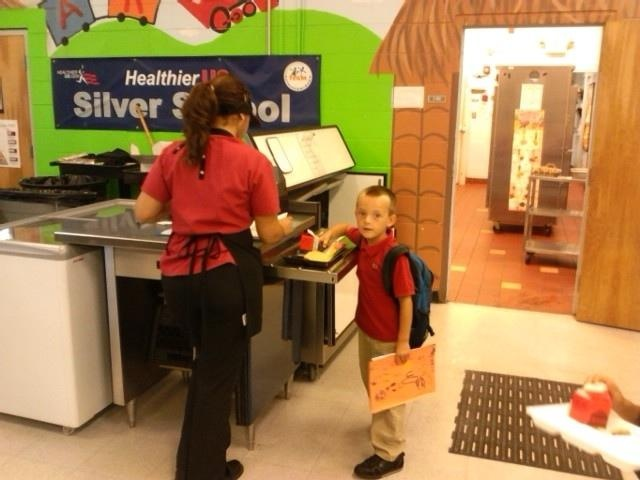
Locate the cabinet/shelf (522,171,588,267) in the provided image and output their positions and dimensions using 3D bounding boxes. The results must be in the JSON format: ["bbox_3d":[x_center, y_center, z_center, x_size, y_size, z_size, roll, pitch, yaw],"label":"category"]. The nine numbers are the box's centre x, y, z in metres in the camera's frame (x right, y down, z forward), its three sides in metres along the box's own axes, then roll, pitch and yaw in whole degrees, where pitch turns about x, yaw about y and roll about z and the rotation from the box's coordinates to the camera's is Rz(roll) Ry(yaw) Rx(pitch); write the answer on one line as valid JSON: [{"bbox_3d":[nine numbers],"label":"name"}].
[{"bbox_3d":[2.872,-0.319,6.086,0.707,0.865,0.572,5,5,28],"label":"cabinet/shelf"}]

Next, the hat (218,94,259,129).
[{"bbox_3d":[-0.353,-0.590,2.285,0.105,0.141,0.303,1,12,11],"label":"hat"}]

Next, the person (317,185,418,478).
[{"bbox_3d":[0.256,0.468,2.604,0.371,1.491,0.535,-5,12,-17],"label":"person"}]

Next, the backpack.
[{"bbox_3d":[0.452,0.279,2.510,0.224,0.537,0.250,3,13,22],"label":"backpack"}]
